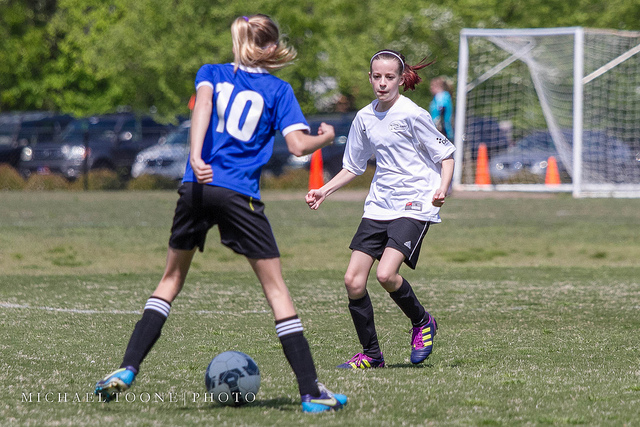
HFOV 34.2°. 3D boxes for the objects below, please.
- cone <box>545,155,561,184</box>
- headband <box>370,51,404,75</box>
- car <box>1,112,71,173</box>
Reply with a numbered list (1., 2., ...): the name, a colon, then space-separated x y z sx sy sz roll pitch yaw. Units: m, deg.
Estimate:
1. cone: 4.958 -0.936 22.135 0.317 0.566 0.706 3 12 10
2. headband: 0.892 -2.025 13.803 0.436 0.296 0.160 1 12 3
3. car: -6.825 -1.868 24.430 1.196 0.925 2.006 -3 -3 20
